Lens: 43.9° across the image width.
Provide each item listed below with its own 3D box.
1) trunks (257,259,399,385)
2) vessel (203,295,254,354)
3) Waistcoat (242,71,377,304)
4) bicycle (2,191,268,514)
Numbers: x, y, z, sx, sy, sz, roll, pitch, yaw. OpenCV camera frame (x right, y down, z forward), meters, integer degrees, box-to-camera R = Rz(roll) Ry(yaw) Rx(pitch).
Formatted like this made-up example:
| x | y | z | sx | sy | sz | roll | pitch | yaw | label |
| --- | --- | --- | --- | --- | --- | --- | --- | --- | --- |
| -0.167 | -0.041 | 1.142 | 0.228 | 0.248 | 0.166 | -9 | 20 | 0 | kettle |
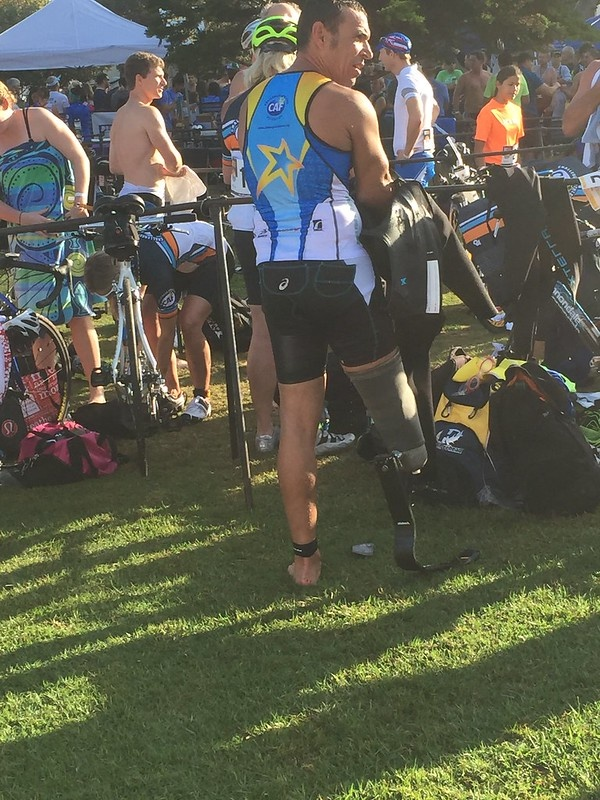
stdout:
| x | y | z | sx | sy | sz | roll | pitch | yaw | label |
| --- | --- | --- | --- | --- | --- | --- | --- | --- | --- |
| 0.025 | -0.292 | 2.354 | 0.392 | 0.311 | 0.240 | 1 | 17 | 4 | trunks |
| -0.478 | -0.516 | 5.270 | 0.373 | 0.436 | 0.435 | -1 | 14 | -1 | vessel |
| 0.025 | -0.626 | 2.235 | 0.332 | 0.682 | 0.155 | -5 | 14 | 10 | Waistcoat |
| -0.926 | -0.244 | 4.046 | 2.133 | 1.208 | 0.146 | -2 | -3 | 30 | bicycle |
